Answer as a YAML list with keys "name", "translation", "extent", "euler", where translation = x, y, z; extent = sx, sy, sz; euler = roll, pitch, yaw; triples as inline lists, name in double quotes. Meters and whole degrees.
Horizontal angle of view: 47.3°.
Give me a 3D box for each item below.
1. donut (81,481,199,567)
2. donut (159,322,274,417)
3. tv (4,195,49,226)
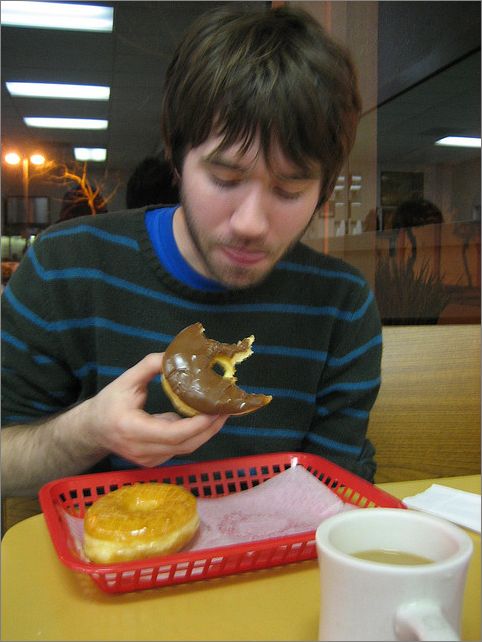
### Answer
- name: "donut"
  translation: [-0.134, 0.270, 0.757]
  extent: [0.166, 0.053, 0.155]
  euler: [-3, 10, -14]
- name: "donut"
  translation: [-0.041, 0.074, 0.789]
  extent: [0.142, 0.133, 0.154]
  euler: [2, 5, -8]
- name: "tv"
  translation: [-0.816, -0.431, 2.098]
  extent: [0.138, 0.084, 0.017]
  euler: [2, 17, -1]
